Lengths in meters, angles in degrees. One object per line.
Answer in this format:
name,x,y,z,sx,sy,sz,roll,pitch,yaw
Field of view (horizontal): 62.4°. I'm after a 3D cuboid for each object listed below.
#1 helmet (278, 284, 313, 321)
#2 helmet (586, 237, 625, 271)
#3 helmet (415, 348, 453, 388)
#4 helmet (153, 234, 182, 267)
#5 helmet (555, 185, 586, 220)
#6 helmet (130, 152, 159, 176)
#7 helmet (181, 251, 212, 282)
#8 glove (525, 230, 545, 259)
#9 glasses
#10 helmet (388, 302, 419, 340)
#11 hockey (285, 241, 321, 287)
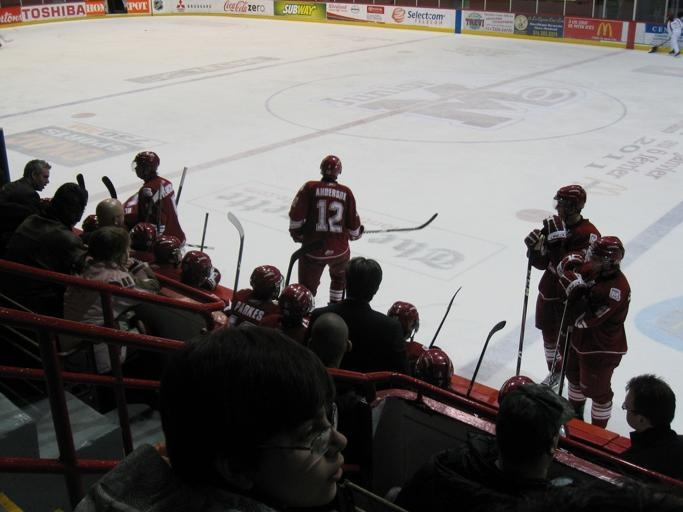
helmet,-0.320,0.308,4.100,0.216,0.250,0.261,8,29,10
helmet,2.077,-0.059,4.551,0.315,0.260,0.225,8,42,15
helmet,0.586,0.720,3.674,0.260,0.205,0.201,-4,-3,34
helmet,-1.492,-0.066,4.962,0.232,0.230,0.261,11,23,12
helmet,2.153,-0.513,5.363,0.350,0.333,0.282,5,12,13
helmet,-2.261,-1.087,6.573,0.324,0.254,0.229,9,17,-14
helmet,-1.180,0.081,4.709,0.222,0.239,0.268,11,23,11
glove,1.847,-0.123,5.441,0.114,0.234,0.199,0,-17,15
glasses,-0.062,0.351,1.062,0.094,0.025,0.086,-1,22,12
helmet,0.483,0.491,4.313,0.249,0.265,0.298,10,13,14
hockey,-0.444,0.091,6.490,0.221,0.616,0.117,16,61,1
